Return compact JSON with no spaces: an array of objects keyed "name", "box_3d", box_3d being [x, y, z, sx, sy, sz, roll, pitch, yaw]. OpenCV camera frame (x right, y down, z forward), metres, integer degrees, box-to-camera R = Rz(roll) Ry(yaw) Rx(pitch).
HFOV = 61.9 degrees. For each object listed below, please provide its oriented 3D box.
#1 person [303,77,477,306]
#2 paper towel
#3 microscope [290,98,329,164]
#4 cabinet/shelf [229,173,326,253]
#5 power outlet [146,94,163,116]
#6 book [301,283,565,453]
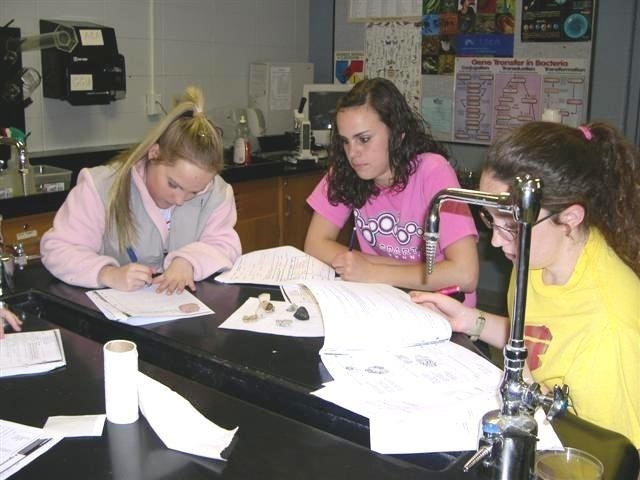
[{"name":"person","box_3d":[0.288,-0.113,2.251,0.682,1.127,0.588,0,18,15]},{"name":"paper towel","box_3d":[-0.307,0.302,1.067,0.313,0.170,0.110,6,15,23]},{"name":"microscope","box_3d":[-0.099,-0.773,3.851,0.232,0.424,0.282,0,13,5]},{"name":"cabinet/shelf","box_3d":[-0.315,-0.192,3.662,0.537,0.555,0.489,-14,24,-41]},{"name":"power outlet","box_3d":[-1.112,-0.904,3.547,0.046,0.143,0.145,2,2,26]},{"name":"book","box_3d":[0.203,0.270,1.272,0.454,0.144,0.668,-1,15,-3]}]
